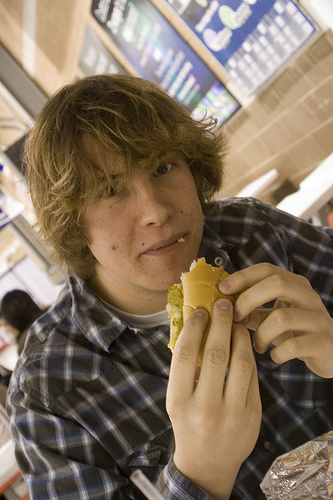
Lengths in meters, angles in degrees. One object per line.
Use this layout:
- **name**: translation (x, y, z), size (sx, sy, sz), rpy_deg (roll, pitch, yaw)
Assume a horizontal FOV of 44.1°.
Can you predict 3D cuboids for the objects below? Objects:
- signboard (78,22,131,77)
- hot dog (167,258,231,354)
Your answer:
- **signboard**: translation (-0.734, -2.265, 4.470), size (0.089, 0.698, 1.955), rpy_deg (-36, 34, 12)
- **hot dog**: translation (0.059, 0.138, 1.059), size (0.179, 0.212, 0.175), rpy_deg (5, 16, 16)
